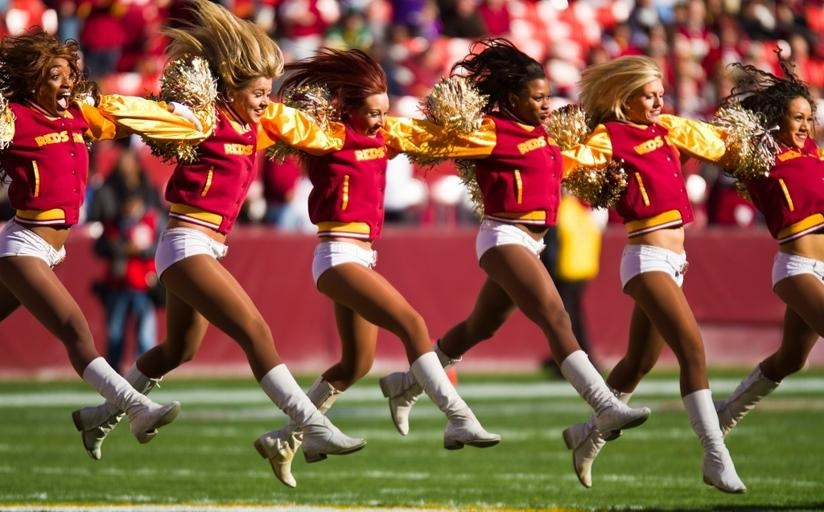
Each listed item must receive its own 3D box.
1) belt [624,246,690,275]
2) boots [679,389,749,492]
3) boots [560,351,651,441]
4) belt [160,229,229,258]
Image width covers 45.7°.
[{"bbox_3d":[1.845,0.024,7.422,0.480,0.209,0.274,0,3,8],"label":"belt"},{"bbox_3d":[2.255,1.372,7.230,0.249,0.771,0.517,-3,4,-43],"label":"boots"},{"bbox_3d":[1.438,1.005,7.224,0.613,0.633,0.229,-12,24,-11],"label":"boots"},{"bbox_3d":[-1.579,-0.089,7.072,0.282,0.110,0.284,16,-8,-8],"label":"belt"}]
